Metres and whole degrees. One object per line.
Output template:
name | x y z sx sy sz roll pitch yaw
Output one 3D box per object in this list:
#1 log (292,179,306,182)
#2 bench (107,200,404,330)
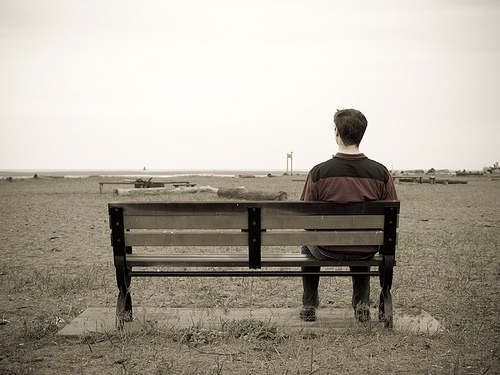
log | 4.164 -0.687 43.572 0.777 0.052 4.098 -1 2 9
bench | 0.063 0.910 6.569 3.354 1.737 1.149 0 7 0
